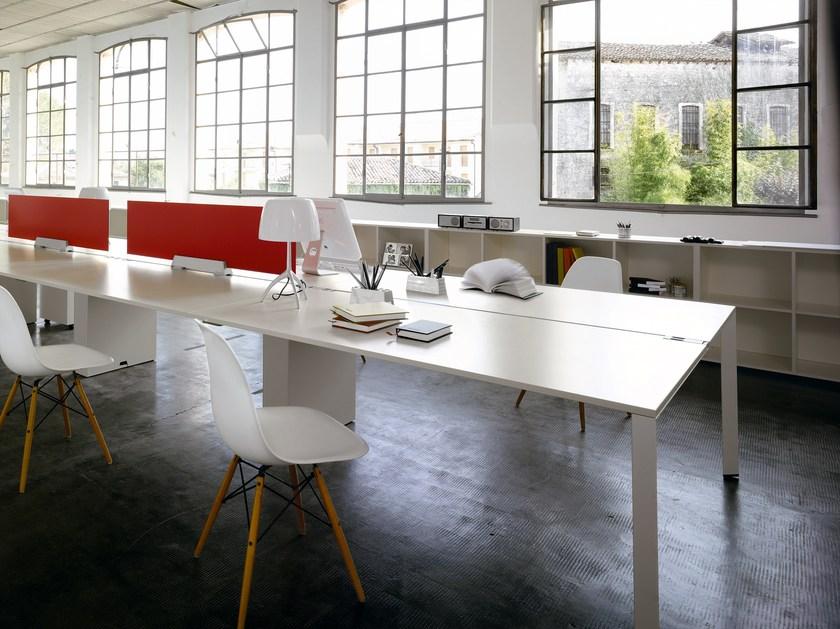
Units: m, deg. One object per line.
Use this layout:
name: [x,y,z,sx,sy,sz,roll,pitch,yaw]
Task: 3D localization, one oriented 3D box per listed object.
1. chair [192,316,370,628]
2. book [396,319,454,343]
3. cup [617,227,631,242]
chair: [-0.635,0.550,2.598,0.683,1.147,0.915,-4,10,-22]
book: [0.020,0.079,2.675,0.255,0.061,0.165,0,9,-1]
cup: [1.870,-0.734,5.514,0.134,0.144,0.138,-1,5,0]
